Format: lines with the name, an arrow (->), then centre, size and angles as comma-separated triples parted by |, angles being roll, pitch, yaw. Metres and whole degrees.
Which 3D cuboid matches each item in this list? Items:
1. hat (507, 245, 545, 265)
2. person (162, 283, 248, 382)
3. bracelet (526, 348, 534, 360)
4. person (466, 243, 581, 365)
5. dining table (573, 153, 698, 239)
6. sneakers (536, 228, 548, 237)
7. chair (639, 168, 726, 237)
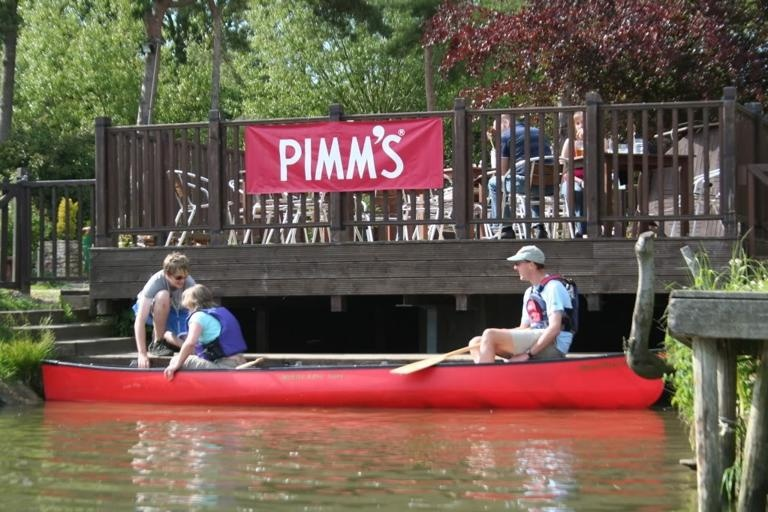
hat -> 1.865, 0.005, 14.270 | 0.378, 0.217, 0.257 | -1, -4, 8
person -> -2.445, 0.895, 14.906 | 1.105, 1.559, 0.993 | 7, 16, 26
bracelet -> 1.873, 1.231, 14.244 | 0.085, 0.121, 0.097 | -1, -1, 7
person -> 1.890, 0.605, 14.293 | 1.161, 1.434, 0.410 | -1, -1, 11
dining table -> 3.693, -1.021, 15.966 | 1.449, 1.511, 1.503 | 2, 4, 30
sneakers -> 2.264, -0.322, 15.912 | 0.187, 0.177, 0.120 | -4, 4, 10
chair -> 4.485, -0.688, 16.179 | 0.786, 0.964, 2.760 | -1, -2, 14
